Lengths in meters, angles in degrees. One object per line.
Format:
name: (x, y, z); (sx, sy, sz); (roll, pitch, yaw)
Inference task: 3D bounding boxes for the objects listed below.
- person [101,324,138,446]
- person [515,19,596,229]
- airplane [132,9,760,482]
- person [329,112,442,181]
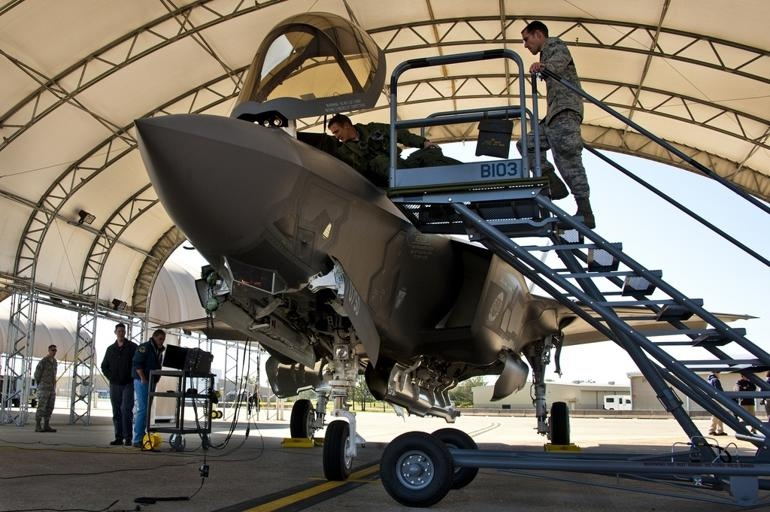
person: (-5.665, 2.676, 14.432); (0.714, 2.518, 0.960); (4, -16, -19)
person: (2.750, -2.246, 11.014); (0.882, 3.774, 0.988); (-4, -16, 12)
airplane: (1.603, 0.235, 12.494); (10.797, 4.327, 9.727); (0, -17, 31)
person: (0.078, -1.854, 11.939); (2.265, 0.723, 1.362); (10, 0, -14)
